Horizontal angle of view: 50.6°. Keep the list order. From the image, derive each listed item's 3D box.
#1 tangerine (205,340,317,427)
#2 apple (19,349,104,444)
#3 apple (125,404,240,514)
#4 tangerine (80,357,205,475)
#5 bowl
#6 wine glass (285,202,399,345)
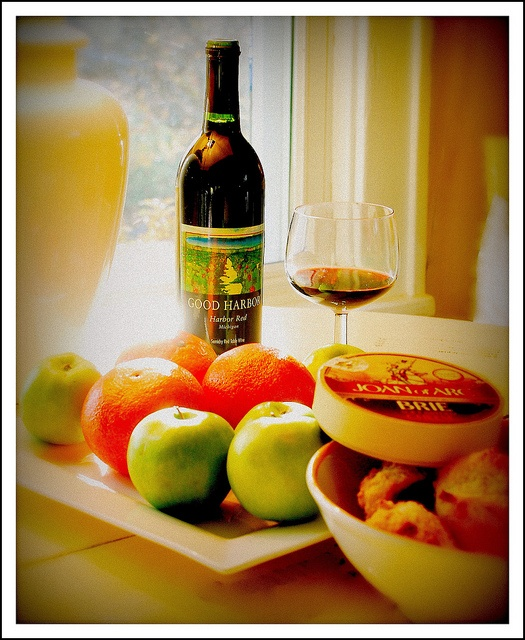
[{"bbox_3d":[-0.007,0.049,0.453,0.068,0.072,0.069,-1,1,3],"label":"tangerine"},{"bbox_3d":[-0.184,0.075,0.518,0.073,0.076,0.072,-11,26,-38],"label":"apple"},{"bbox_3d":[-0.061,0.102,0.410,0.071,0.077,0.069,-1,13,-27],"label":"apple"},{"bbox_3d":[-0.106,0.078,0.477,0.107,0.097,0.114,4,2,-14],"label":"tangerine"},{"bbox_3d":[0.097,0.155,0.370,0.123,0.056,0.126,28,-3,1],"label":"bowl"},{"bbox_3d":[0.073,-0.071,0.669,0.131,0.245,0.152,-1,19,-4],"label":"wine glass"}]
